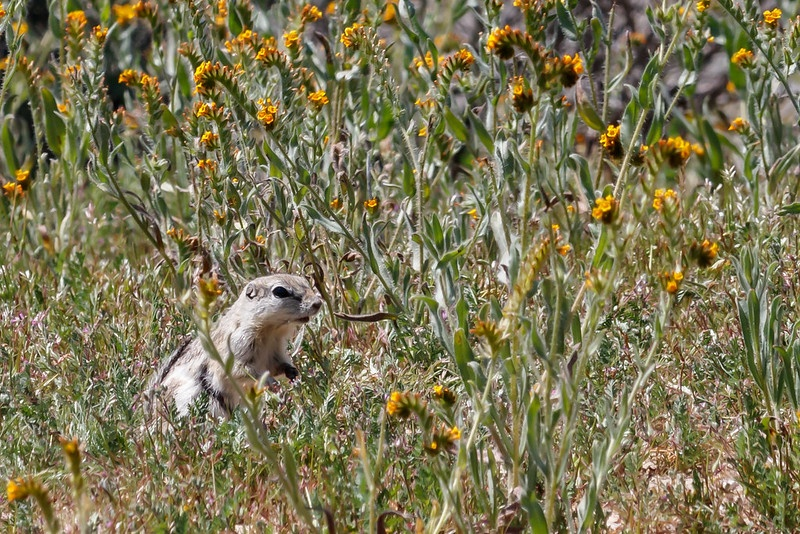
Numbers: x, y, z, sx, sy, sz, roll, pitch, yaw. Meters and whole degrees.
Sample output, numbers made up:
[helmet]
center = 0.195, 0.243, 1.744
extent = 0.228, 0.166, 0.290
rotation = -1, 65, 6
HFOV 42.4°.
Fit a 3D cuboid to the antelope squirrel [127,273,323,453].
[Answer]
[antelope squirrel]
center = -0.862, 0.360, 5.017
extent = 0.960, 0.533, 0.505
rotation = -41, -12, 16
